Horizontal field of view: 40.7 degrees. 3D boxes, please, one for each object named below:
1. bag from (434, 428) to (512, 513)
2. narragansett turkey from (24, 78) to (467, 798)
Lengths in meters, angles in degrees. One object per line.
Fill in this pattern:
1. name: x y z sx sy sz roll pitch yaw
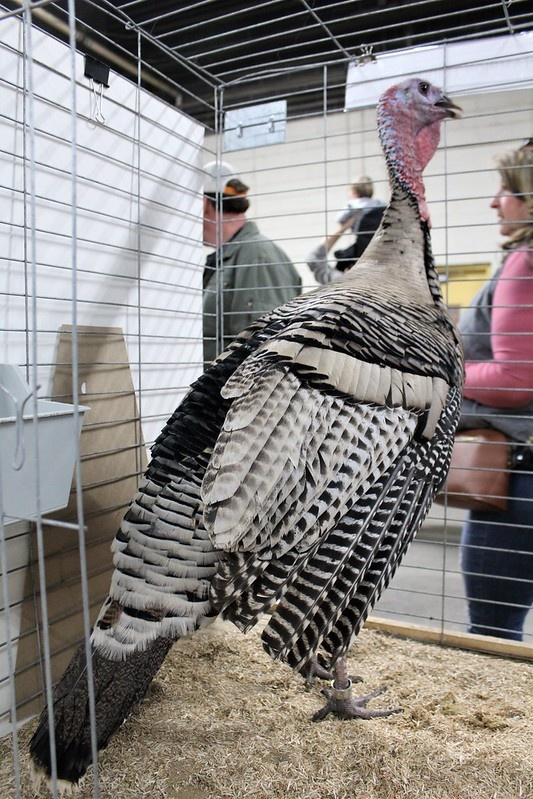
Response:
1. bag: 0.679 0.228 2.313 0.289 0.275 0.152 1 -23 33
2. narragansett turkey: 0.065 -0.058 1.716 0.604 1.649 1.174 4 7 36
